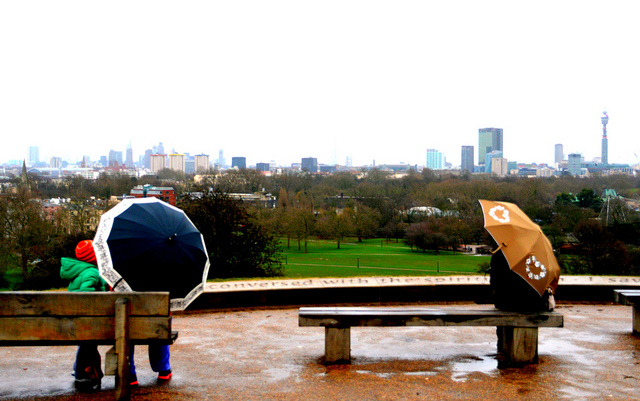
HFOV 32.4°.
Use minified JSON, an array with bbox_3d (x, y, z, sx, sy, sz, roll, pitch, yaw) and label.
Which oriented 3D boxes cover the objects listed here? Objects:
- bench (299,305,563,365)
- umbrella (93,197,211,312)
[{"bbox_3d":[3.784,4.605,37.633,8.419,1.998,0.597,1,1,-1],"label":"bench"},{"bbox_3d":[-5.595,2.158,37.560,4.050,2.659,4.379,8,45,-12],"label":"umbrella"}]
